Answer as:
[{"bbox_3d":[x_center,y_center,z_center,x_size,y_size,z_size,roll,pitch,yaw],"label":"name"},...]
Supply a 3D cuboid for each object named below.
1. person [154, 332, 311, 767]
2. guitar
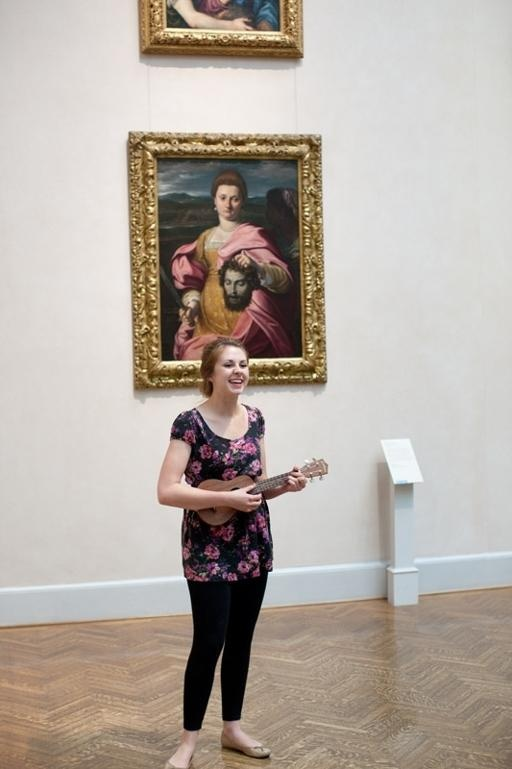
[{"bbox_3d":[-0.136,0.723,3.388,0.556,1.802,0.390,-4,8,-36],"label":"person"},{"bbox_3d":[0.032,0.448,3.381,0.565,0.236,0.149,-3,7,-31],"label":"guitar"}]
